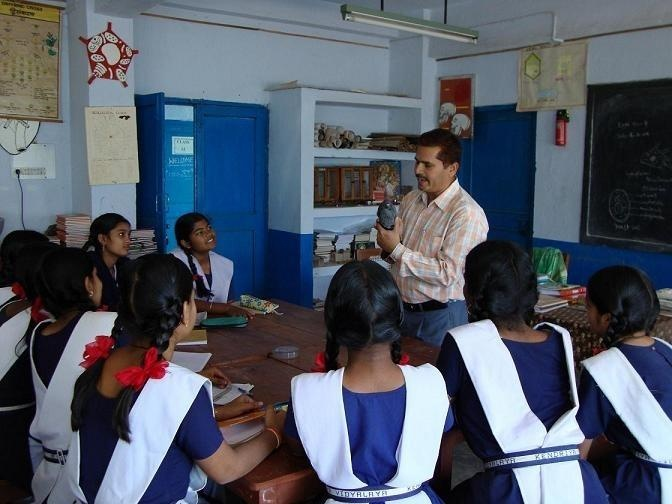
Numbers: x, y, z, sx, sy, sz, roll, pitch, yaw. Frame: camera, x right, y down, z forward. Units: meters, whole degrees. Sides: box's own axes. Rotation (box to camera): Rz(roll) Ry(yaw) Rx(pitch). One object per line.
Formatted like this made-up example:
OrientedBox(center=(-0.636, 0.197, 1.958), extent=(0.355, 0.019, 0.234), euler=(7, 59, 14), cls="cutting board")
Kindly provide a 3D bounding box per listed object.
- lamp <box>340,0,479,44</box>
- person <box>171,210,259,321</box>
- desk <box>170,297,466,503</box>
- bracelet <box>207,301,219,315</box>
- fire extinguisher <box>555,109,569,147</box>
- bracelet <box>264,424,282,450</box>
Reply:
OrientedBox(center=(0.784, -2.364, 4.893), extent=(1.500, 0.169, 0.193), euler=(2, -10, -31), cls="lamp")
OrientedBox(center=(-0.848, 0.117, 3.250), extent=(0.591, 0.725, 0.498), euler=(0, 6, 31), cls="person")
OrientedBox(center=(-0.309, 0.752, 2.371), extent=(0.640, 0.233, 0.915), euler=(-6, 13, -33), cls="desk")
OrientedBox(center=(-0.795, 0.367, 3.114), extent=(0.065, 0.069, 0.023), euler=(14, 11, -6), cls="bracelet")
OrientedBox(center=(2.367, -1.299, 5.012), extent=(0.130, 0.375, 0.086), euler=(5, 9, 23), cls="fire extinguisher")
OrientedBox(center=(-0.209, 0.604, 1.573), extent=(0.017, 0.062, 0.064), euler=(-7, -21, -18), cls="bracelet")
